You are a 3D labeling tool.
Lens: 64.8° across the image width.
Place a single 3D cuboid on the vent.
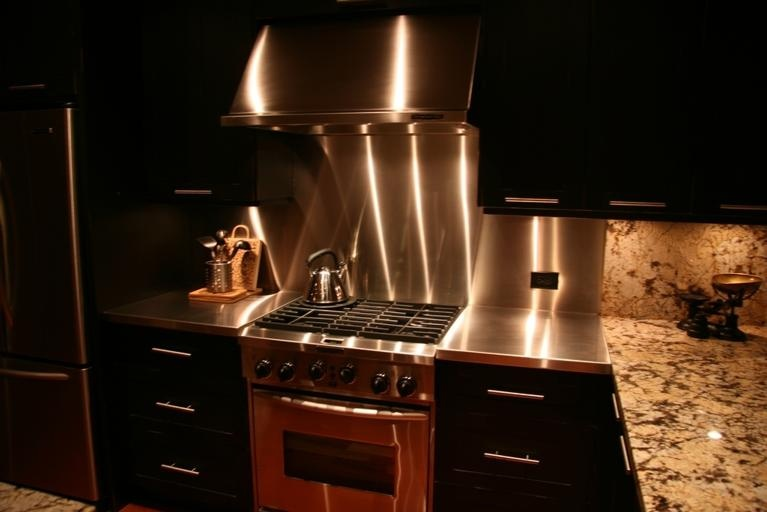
[{"bbox_3d":[-0.108,-0.972,3.209,1.639,0.626,0.681,1,13,14],"label":"vent"}]
